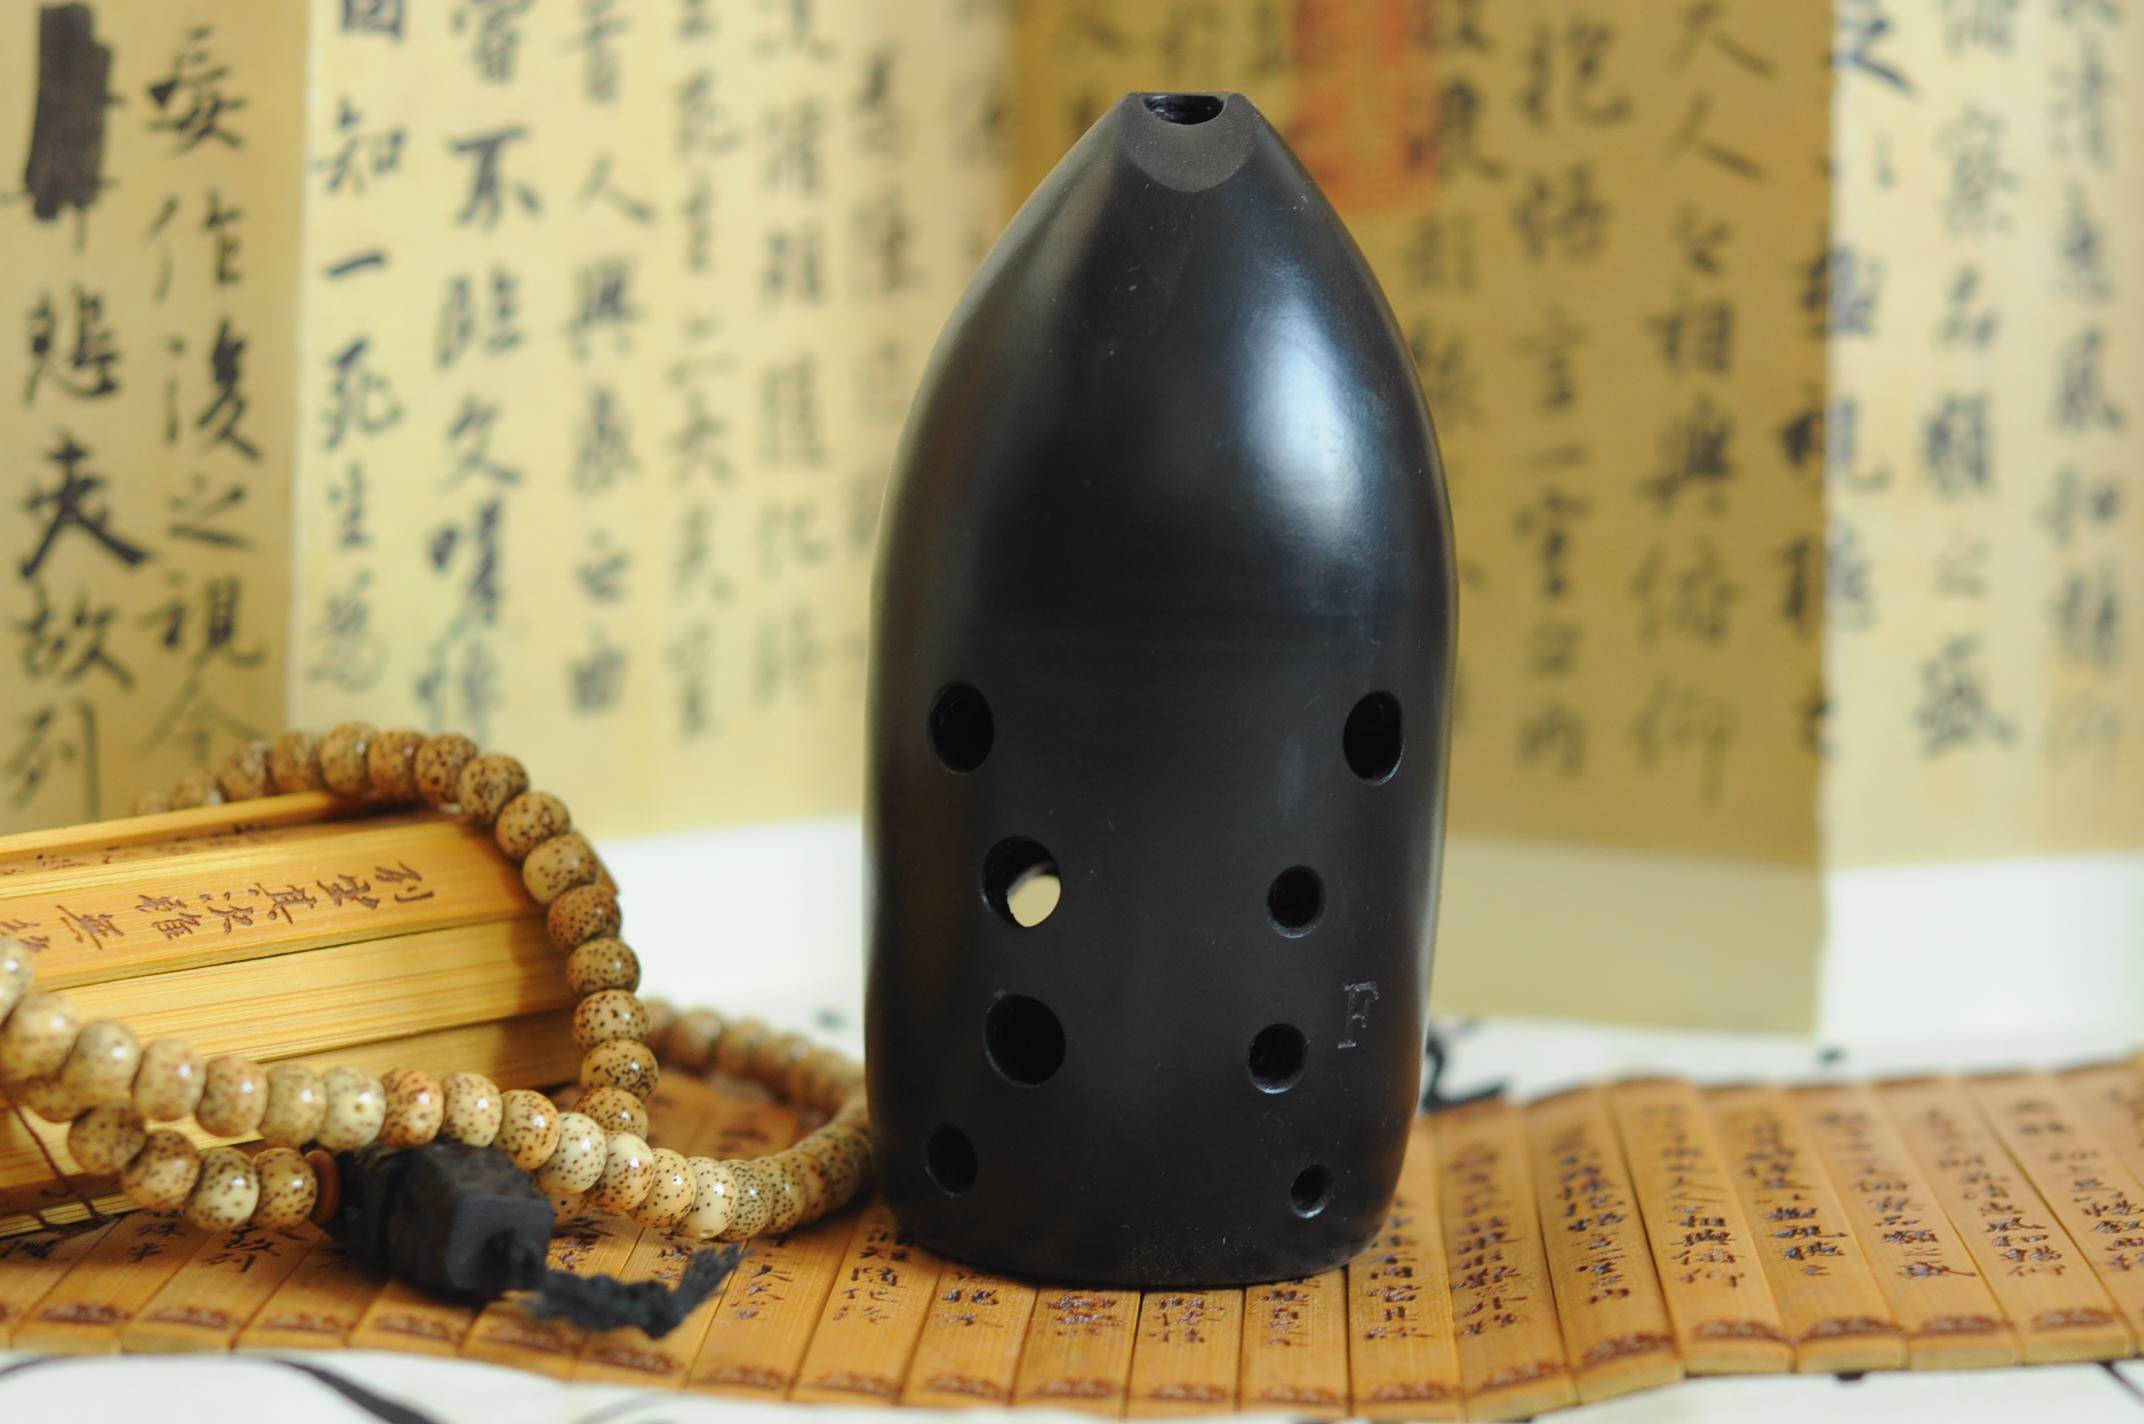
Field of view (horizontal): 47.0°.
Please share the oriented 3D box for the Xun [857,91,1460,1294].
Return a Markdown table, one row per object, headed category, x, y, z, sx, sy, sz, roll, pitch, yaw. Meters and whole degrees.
| category | x | y | z | sx | sy | sz | roll | pitch | yaw |
| --- | --- | --- | --- | --- | --- | --- | --- | --- | --- |
| Xun | 0.039 | -0.008 | 1.080 | 0.246 | 0.473 | 0.091 | 3 | 1 | -6 |
